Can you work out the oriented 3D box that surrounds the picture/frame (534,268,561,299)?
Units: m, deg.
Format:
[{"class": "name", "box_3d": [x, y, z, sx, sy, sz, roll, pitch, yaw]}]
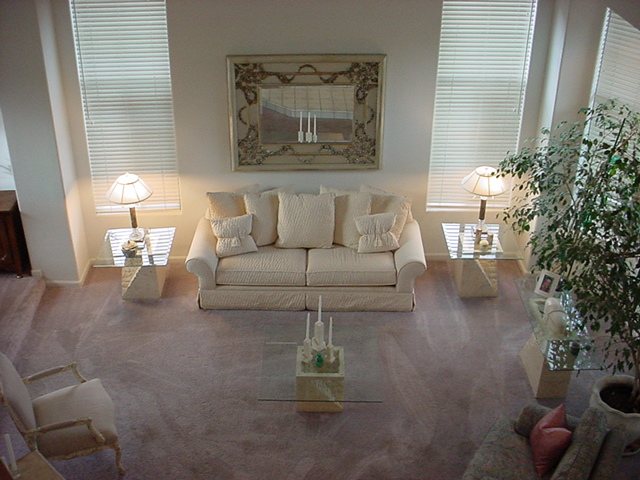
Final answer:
[{"class": "picture/frame", "box_3d": [2.286, 0.447, 4.668, 0.229, 0.291, 0.029, 19, 5, 35]}]

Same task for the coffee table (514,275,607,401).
[{"class": "coffee table", "box_3d": [2.309, 0.954, 4.442, 0.359, 0.546, 1.096, 0, 25, 4]}]

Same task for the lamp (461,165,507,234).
[{"class": "lamp", "box_3d": [2.063, -0.478, 5.853, 0.469, 0.788, 0.436, 8, -11, -4]}]

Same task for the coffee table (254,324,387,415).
[{"class": "coffee table", "box_3d": [0.003, 1.269, 4.494, 1.074, 0.558, 1.120, 7, 29, 26]}]

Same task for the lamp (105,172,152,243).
[{"class": "lamp", "box_3d": [-2.449, -0.435, 6.014, 0.507, 0.847, 0.638, -6, 15, -20]}]

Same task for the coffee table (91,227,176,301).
[{"class": "coffee table", "box_3d": [-2.284, 0.212, 5.865, 0.929, 0.658, 0.923, 0, 28, -2]}]

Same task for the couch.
[{"class": "couch", "box_3d": [-0.164, 0.092, 6.036, 2.871, 1.283, 1.234, 1, 26, 3]}]

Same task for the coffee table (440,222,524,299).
[{"class": "coffee table", "box_3d": [2.008, 0.339, 6.081, 0.827, 0.532, 1.015, 4, 22, 16]}]

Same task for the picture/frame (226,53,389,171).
[{"class": "picture/frame", "box_3d": [-0.166, -1.658, 6.120, 2.011, 1.562, 0.176, -1, -5, 0]}]
